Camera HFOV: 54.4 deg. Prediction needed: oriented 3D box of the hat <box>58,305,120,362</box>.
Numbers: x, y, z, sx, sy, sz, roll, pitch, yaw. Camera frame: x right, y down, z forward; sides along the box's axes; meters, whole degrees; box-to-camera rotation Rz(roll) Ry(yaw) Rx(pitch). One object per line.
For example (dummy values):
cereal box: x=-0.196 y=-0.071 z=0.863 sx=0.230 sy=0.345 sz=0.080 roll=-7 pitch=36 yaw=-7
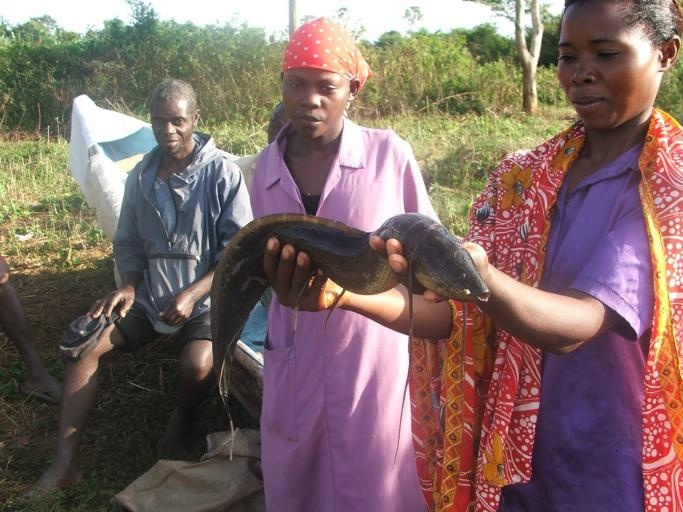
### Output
hat: x=-1.795 y=0.536 z=4.728 sx=0.368 sy=0.137 sz=0.258 roll=-44 pitch=52 yaw=-9

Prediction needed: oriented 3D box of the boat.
boat: x=-1.487 y=0.073 z=5.426 sx=1.026 sy=0.905 sz=4.259 roll=-1 pitch=36 yaw=-15

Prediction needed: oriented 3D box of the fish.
fish: x=-0.007 y=0.311 z=2.976 sx=1.083 sy=0.438 sz=0.906 roll=8 pitch=46 yaw=30

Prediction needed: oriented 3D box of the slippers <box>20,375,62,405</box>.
slippers: x=-2.519 y=1.136 z=5.598 sx=0.356 sy=0.165 sz=0.149 roll=12 pitch=15 yaw=8
